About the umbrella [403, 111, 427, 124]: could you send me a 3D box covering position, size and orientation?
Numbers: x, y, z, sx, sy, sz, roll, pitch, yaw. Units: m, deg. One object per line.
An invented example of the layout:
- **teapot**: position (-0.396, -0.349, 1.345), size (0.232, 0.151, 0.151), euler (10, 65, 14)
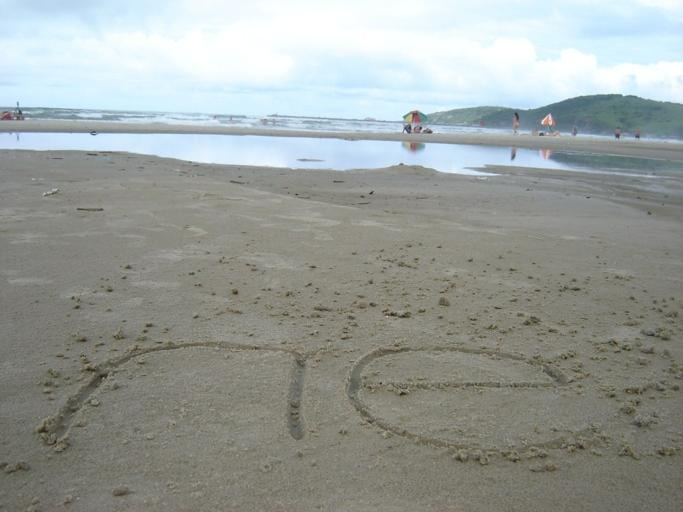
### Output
- **umbrella**: position (7.220, -13.380, 54.768), size (1.918, 1.041, 3.499), euler (2, 13, 3)
